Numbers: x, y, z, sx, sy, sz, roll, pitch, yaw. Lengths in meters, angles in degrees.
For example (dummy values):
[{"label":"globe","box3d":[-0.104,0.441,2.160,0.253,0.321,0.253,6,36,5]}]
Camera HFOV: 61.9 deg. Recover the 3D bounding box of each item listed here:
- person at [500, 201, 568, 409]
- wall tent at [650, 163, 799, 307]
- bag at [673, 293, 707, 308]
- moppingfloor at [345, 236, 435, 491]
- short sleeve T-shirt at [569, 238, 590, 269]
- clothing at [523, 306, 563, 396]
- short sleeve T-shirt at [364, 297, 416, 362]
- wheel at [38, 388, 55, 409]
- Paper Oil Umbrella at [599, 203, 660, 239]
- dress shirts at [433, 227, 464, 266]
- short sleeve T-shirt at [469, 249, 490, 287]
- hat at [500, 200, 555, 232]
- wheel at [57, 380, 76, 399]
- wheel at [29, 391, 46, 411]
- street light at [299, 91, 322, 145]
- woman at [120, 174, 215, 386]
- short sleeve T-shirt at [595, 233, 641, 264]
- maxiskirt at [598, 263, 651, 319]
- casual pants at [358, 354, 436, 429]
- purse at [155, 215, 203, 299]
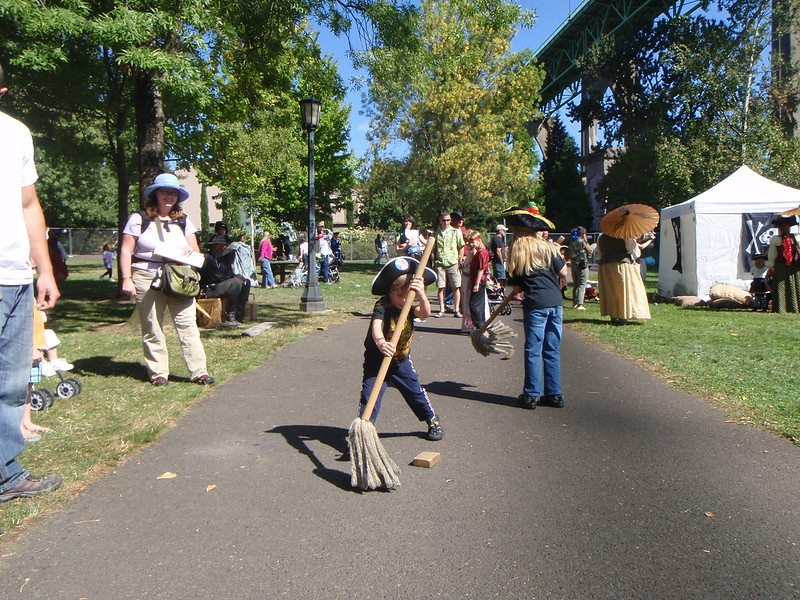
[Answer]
[{"label":"person","box3d":[1.507,0.056,7.366,0.628,2.144,0.664,-1,6,12]},{"label":"wall tent","box3d":[8.375,-1.640,17.117,3.391,3.519,3.380,0,6,-11]},{"label":"bag","box3d":[6.856,0.037,15.736,0.691,0.228,0.457,6,16,25]},{"label":"moppingfloor","box3d":[-0.130,0.650,5.453,0.537,1.550,0.943,0,14,3]},{"label":"short sleeve T-shirt","box3d":[4.116,-1.059,15.306,0.488,0.686,0.485,8,16,30]},{"label":"clothing","box3d":[1.518,0.580,7.066,0.409,0.985,0.453,2,14,11]},{"label":"short sleeve T-shirt","box3d":[-0.072,0.279,5.986,0.421,0.616,0.330,10,-1,-29]},{"label":"wheel","box3d":[-3.571,0.997,6.725,0.112,0.118,0.045,35,15,17]},{"label":"Paper Oil Umbrella","box3d":[4.040,-1.352,11.747,0.956,0.626,0.572,4,15,17]},{"label":"dress shirts","box3d":[0.946,-1.025,12.796,0.529,0.726,0.328,0,14,5]},{"label":"short sleeve T-shirt","box3d":[1.297,-0.527,10.895,0.277,0.547,0.525,0,14,4]},{"label":"hat","box3d":[1.409,-0.900,7.343,0.507,0.272,0.529,4,-1,26]},{"label":"wheel","box3d":[-3.508,0.943,7.011,0.165,0.182,0.068,0,3,-9]},{"label":"wheel","box3d":[-3.599,1.006,6.612,0.177,0.193,0.068,14,-9,-6]},{"label":"street light","box3d":[-1.852,-3.969,13.952,0.468,0.804,0.552,0,11,-9]},{"label":"woman","box3d":[-2.649,-0.239,7.648,0.938,2.457,0.668,-1,13,-27]},{"label":"short sleeve T-shirt","box3d":[4.052,-0.937,12.545,0.847,0.899,0.497,4,7,38]},{"label":"maxiskirt","box3d":[4.175,-0.149,12.496,0.673,1.207,0.953,-18,16,-37]},{"label":"casual pants","box3d":[-0.038,0.890,6.283,0.636,0.874,0.281,-2,10,-8]},{"label":"purse","box3d":[-2.512,-0.435,7.455,0.503,0.861,0.500,-3,14,-10]}]
